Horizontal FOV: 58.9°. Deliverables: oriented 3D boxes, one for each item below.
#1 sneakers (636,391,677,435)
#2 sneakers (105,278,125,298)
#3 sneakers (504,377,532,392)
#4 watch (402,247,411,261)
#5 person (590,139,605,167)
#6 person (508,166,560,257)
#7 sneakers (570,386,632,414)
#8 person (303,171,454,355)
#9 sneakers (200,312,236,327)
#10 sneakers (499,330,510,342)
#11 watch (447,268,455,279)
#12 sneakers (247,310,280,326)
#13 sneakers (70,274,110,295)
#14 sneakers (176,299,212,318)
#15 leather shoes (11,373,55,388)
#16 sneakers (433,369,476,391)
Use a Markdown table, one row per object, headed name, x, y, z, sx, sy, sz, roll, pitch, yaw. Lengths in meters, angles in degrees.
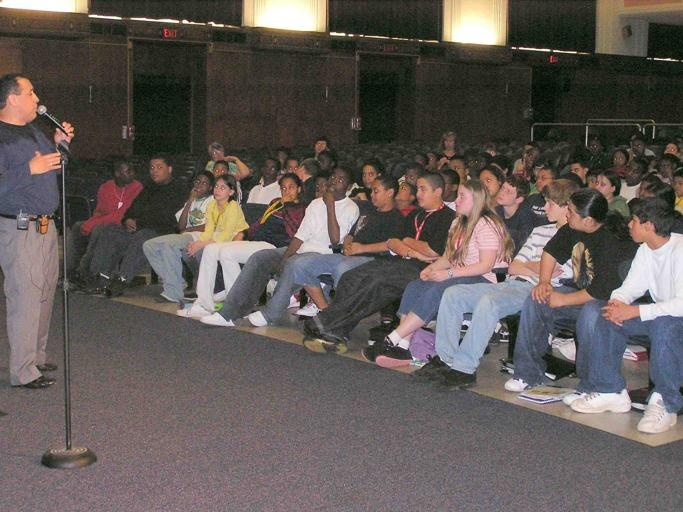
| name | x | y | z | sx | sy | sz | roll | pitch | yaw |
| --- | --- | --- | --- | --- | --- | --- | --- | --- | --- |
| sneakers | 1.903 | 0.976 | 3.674 | 0.137 | 0.158 | 0.404 | -4 | -5 | 37 |
| sneakers | -2.647 | 0.358 | 6.975 | 0.191 | 0.197 | 0.219 | 5 | 11 | 24 |
| sneakers | 1.224 | 0.912 | 4.287 | 0.153 | 0.056 | 0.085 | -10 | 18 | -41 |
| watch | 0.570 | -0.018 | 5.287 | 0.026 | 0.088 | 0.074 | 9 | 32 | -5 |
| person | 5.190 | -2.168 | 12.315 | 0.295 | 0.540 | 2.703 | 5 | 10 | 22 |
| person | 1.965 | -0.494 | 6.097 | 0.387 | 0.312 | 0.948 | 8 | 48 | 4 |
| sneakers | 1.682 | 0.952 | 4.002 | 0.436 | 0.167 | 0.144 | 1 | 3 | 0 |
| person | 0.023 | 0.049 | 5.523 | 0.716 | 1.521 | 1.568 | 28 | 4 | 1 |
| sneakers | -1.191 | 0.614 | 5.858 | 0.330 | 0.112 | 0.123 | 6 | -3 | -19 |
| sneakers | 1.468 | 0.746 | 5.503 | 0.125 | 0.058 | 0.194 | -1 | 11 | 18 |
| watch | 0.868 | 0.139 | 4.850 | 0.051 | 0.069 | 0.076 | 16 | 19 | 27 |
| sneakers | -0.753 | 0.609 | 5.816 | 0.259 | 0.103 | 0.126 | 13 | 10 | -21 |
| sneakers | -2.935 | 0.332 | 7.049 | 0.651 | 0.188 | 0.235 | -1 | 0 | 4 |
| sneakers | -1.501 | 0.547 | 6.213 | 0.373 | 0.127 | 0.167 | 3 | -3 | 6 |
| leather shoes | -2.177 | 0.883 | 4.276 | 0.281 | 0.068 | 0.100 | -2 | 7 | -4 |
| sneakers | 0.820 | 0.890 | 4.344 | 0.332 | 0.125 | 0.113 | 2 | 4 | -10 |
